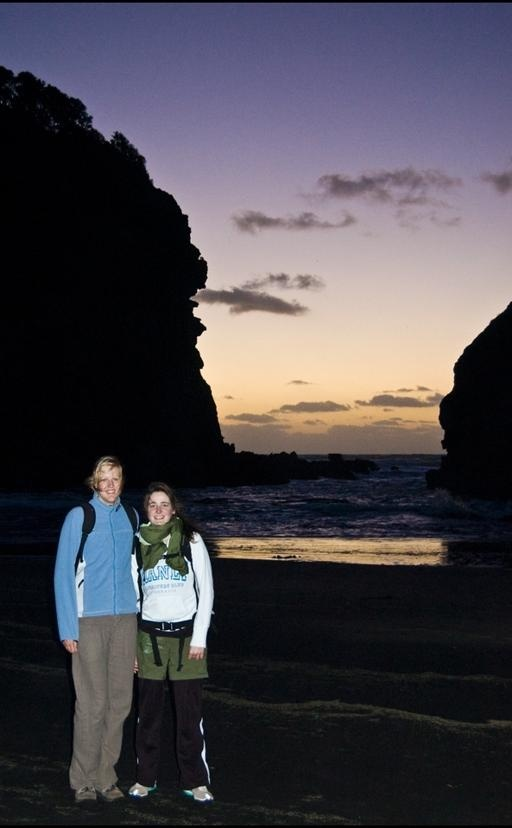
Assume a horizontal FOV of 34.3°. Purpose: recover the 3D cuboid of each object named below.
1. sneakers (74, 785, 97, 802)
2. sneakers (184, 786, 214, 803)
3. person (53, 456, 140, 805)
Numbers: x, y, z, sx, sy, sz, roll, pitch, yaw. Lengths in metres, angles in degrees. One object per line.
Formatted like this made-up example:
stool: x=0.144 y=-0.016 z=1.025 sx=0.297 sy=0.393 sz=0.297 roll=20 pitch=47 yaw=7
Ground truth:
sneakers: x=-0.912 y=2.010 z=4.411 sx=0.114 sy=0.046 sz=0.122 roll=1 pitch=7 yaw=-12
sneakers: x=-0.296 y=2.016 z=4.417 sx=0.061 sy=0.064 sz=0.159 roll=1 pitch=-8 yaw=-35
person: x=-0.881 y=1.159 z=4.566 sx=0.450 sy=1.787 sz=0.629 roll=1 pitch=7 yaw=-10
